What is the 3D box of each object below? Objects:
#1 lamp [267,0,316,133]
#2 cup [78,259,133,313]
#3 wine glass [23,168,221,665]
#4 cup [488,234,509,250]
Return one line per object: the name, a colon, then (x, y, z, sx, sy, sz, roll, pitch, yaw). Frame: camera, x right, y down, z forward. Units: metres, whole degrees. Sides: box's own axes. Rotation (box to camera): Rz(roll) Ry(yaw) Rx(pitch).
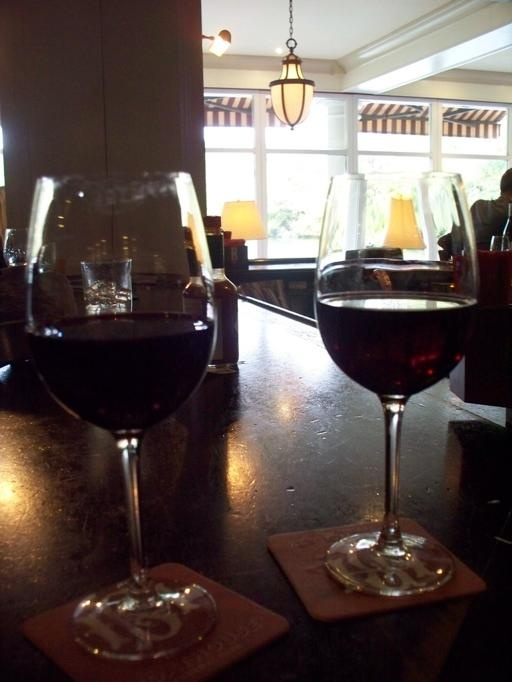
lamp: (0.296, -2.271, 4.872, 0.369, 0.750, 0.605, -1, 8, 2)
cup: (-0.083, -0.032, 0.325, 0.030, 0.034, 0.031, 0, 10, 0)
wine glass: (-0.062, 0.028, 0.317, 0.107, 0.240, 0.128, -7, 10, -33)
cup: (0.404, -0.163, 0.951, 0.029, 0.023, 0.088, 2, 9, 24)
